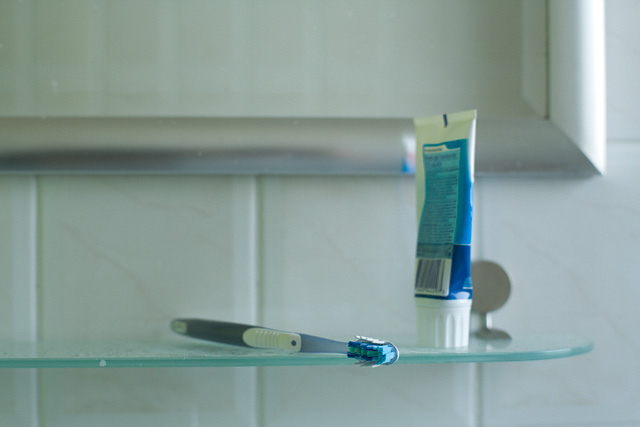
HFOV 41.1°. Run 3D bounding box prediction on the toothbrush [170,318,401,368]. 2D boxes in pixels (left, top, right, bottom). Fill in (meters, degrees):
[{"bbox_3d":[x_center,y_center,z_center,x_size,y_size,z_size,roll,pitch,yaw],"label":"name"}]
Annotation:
[{"bbox_3d":[-0.056,0.157,1.048,0.309,0.043,0.047,4,-76,24],"label":"toothbrush"}]
